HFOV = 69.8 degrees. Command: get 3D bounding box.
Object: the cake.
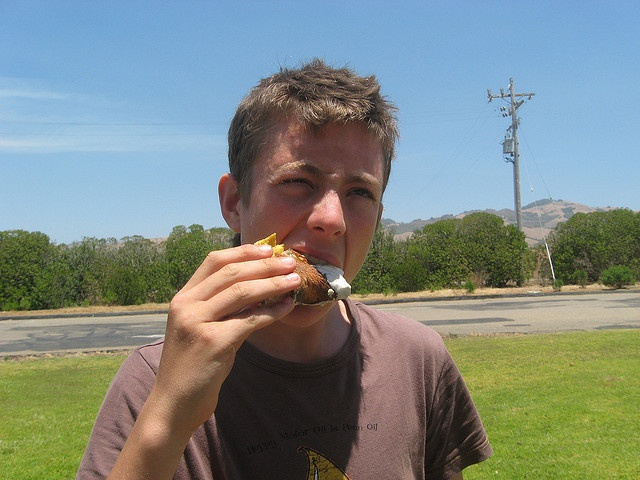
[{"bbox_3d":[-0.057,0.150,2.225,0.370,0.196,0.345,4,5,-12],"label":"cake"}]
